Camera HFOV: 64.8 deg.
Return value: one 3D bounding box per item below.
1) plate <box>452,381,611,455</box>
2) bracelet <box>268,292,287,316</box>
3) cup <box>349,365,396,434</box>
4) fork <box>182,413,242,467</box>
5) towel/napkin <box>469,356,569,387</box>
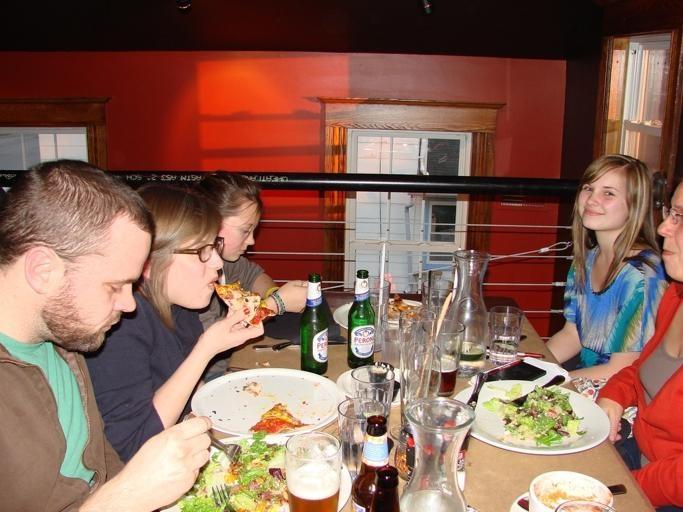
[{"bbox_3d":[0.567,0.501,1.600,0.241,0.032,0.233,7,17,36],"label":"plate"},{"bbox_3d":[-0.294,0.221,2.398,0.047,0.093,0.080,-22,37,-25],"label":"bracelet"},{"bbox_3d":[0.086,0.406,1.516,0.144,0.210,0.140,0,7,0],"label":"cup"},{"bbox_3d":[-0.359,0.501,1.462,0.044,0.167,0.095,-37,13,48],"label":"fork"},{"bbox_3d":[0.614,0.410,1.892,0.365,0.035,0.190,-6,8,-36],"label":"towel/napkin"}]
